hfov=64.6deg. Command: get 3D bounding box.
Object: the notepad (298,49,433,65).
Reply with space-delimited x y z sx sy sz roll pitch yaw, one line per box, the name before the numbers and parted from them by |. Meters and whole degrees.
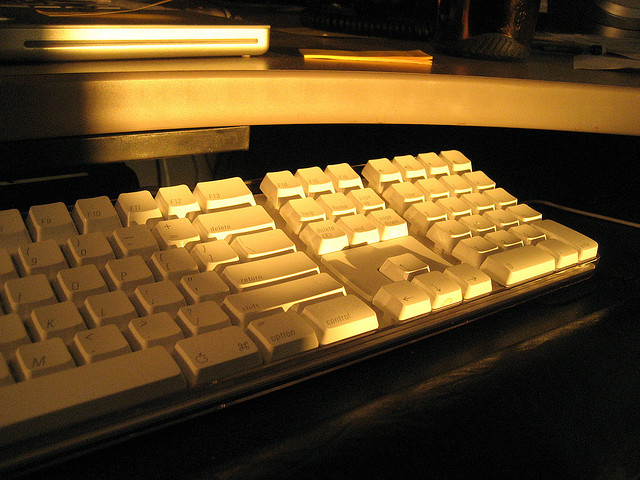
notepad | 0.058 -0.249 0.694 0.159 0.016 0.051 -5 30 -19
